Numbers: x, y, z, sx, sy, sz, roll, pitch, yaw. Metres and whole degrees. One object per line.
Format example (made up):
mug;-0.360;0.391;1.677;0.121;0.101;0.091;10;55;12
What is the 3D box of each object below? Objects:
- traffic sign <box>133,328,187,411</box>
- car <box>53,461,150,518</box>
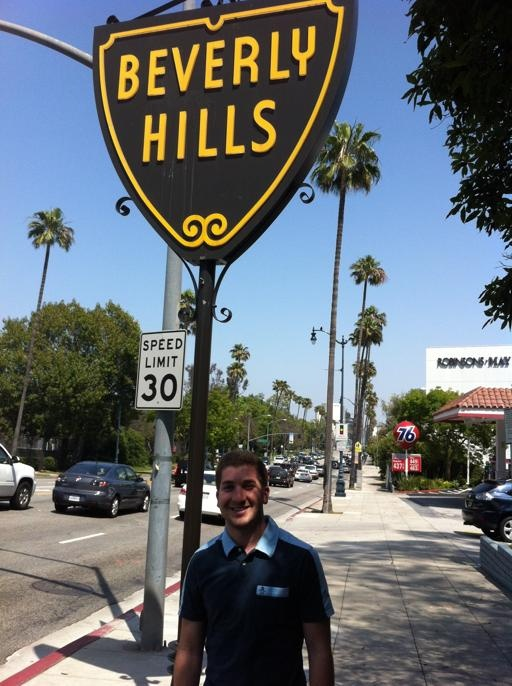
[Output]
traffic sign;-0.872;0.243;5.099;0.363;0.765;0.730;10;-12;-42
car;-4.938;4.835;18.010;1.637;1.732;3.116;-1;-11;24
